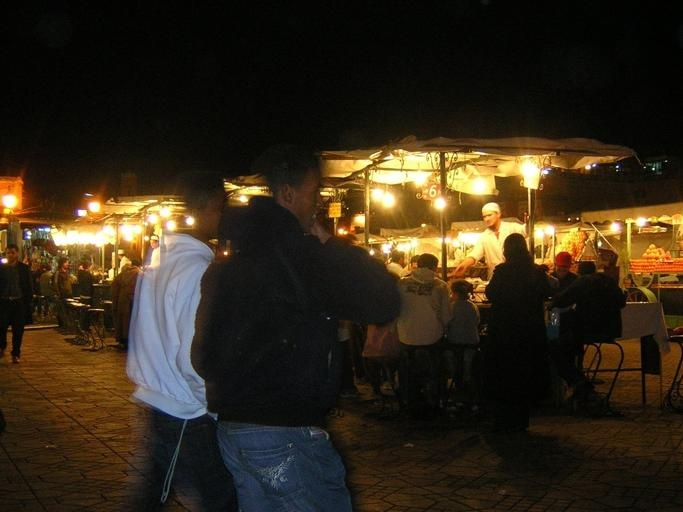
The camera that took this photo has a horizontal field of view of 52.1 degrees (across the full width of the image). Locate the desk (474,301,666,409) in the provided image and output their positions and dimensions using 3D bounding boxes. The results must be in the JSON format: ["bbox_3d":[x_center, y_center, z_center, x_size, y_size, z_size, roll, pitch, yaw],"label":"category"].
[{"bbox_3d":[3.934,1.471,10.396,1.903,1.341,1.436,2,-21,38],"label":"desk"}]

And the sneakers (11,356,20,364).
[{"bbox_3d":[-6.310,2.047,13.594,0.160,0.168,0.157,8,-16,-38],"label":"sneakers"}]
